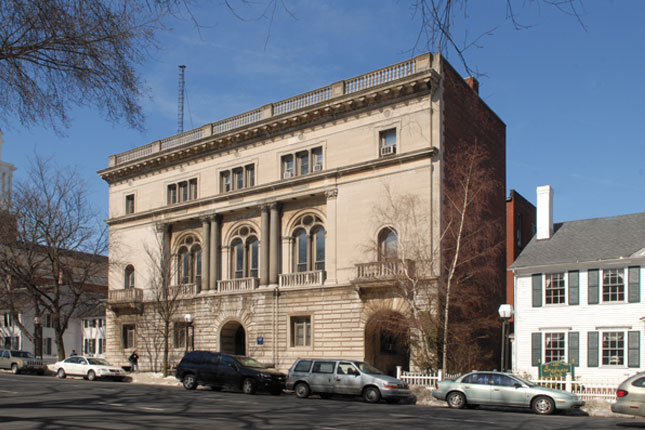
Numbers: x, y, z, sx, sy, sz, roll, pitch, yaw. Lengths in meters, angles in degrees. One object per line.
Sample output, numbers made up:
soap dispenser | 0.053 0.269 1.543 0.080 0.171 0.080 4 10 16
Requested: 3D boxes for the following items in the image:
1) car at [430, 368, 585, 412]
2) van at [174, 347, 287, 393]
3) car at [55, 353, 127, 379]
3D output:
car | 10.767 10.280 57.958 7.859 2.461 3.094 -7 -15 23
van | -6.263 10.015 62.580 6.948 2.758 3.709 -7 -14 30
car | -17.838 11.628 73.065 5.200 1.721 2.130 -5 -9 33
